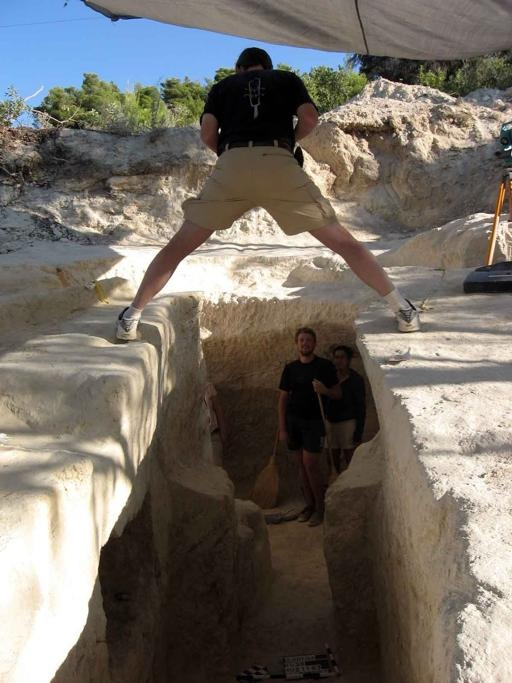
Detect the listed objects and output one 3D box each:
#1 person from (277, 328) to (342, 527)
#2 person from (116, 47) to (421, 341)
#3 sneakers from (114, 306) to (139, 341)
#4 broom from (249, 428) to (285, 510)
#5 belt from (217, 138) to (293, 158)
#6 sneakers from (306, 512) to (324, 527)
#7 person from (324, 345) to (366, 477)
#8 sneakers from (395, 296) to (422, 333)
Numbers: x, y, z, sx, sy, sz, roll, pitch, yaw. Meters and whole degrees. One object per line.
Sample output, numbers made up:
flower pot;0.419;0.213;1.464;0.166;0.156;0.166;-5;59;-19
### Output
person;0.346;0.692;3.788;0.397;1.322;0.364;11;22;36
person;0.012;-0.555;1.991;1.111;1.024;0.485;-3;18;-3
sneakers;-0.464;-0.071;1.926;0.090;0.120;0.131;-6;18;-13
broom;0.127;1.143;4.856;0.235;0.911;0.114;18;27;17
belt;-0.007;-0.693;1.922;0.276;0.042;0.131;-1;17;3
sneakers;0.421;1.275;3.868;0.065;0.070;0.187;-3;-6;24
person;0.624;0.573;3.973;0.381;1.080;0.336;-1;6;14
sneakers;0.552;-0.080;1.936;0.065;0.061;0.149;-5;8;11
